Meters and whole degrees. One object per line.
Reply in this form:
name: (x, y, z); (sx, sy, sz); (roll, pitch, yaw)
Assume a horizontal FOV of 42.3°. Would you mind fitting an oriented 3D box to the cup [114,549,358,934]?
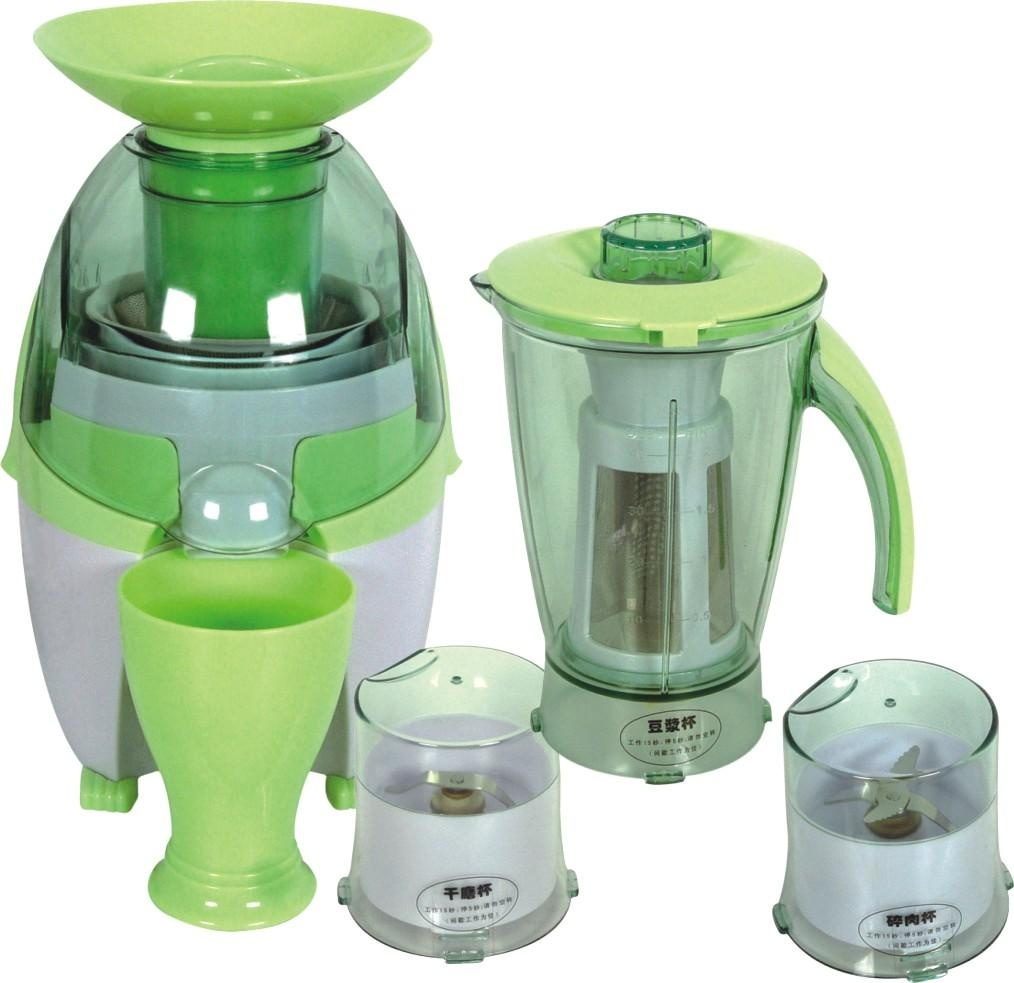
cup: (-0.295, 0.280, 1.492); (0.274, 0.391, 0.219); (-2, 22, 2)
